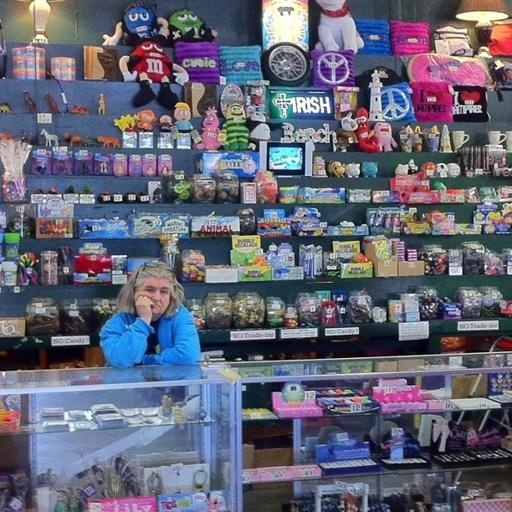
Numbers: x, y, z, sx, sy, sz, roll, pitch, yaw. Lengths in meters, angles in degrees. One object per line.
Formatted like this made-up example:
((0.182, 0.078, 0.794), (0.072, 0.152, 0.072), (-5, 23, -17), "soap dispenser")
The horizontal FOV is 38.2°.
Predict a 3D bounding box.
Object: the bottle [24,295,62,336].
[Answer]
((-1.284, 0.363, 4.472), (0.202, 0.220, 0.153), (-5, 4, -17), "bottle")

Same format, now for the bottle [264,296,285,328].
((0.119, 0.358, 4.790), (0.136, 0.173, 0.168), (-5, 4, -15), "bottle")

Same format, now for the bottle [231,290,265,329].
((-0.055, 0.341, 4.700), (0.215, 0.185, 0.202), (1, -7, -8), "bottle")

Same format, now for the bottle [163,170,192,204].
((-0.520, -0.461, 4.954), (0.219, 0.276, 0.205), (0, -3, 0), "bottle")

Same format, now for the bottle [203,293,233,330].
((-0.230, 0.344, 4.666), (0.178, 0.216, 0.212), (1, -9, -3), "bottle")

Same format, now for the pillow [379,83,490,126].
((1.447, -1.251, 5.968), (0.730, 0.398, 0.183), (0, -3, -4), "pillow")

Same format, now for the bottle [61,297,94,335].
((-1.074, 0.370, 4.493), (0.165, 0.202, 0.102), (-4, 4, -5), "bottle")

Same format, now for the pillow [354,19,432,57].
((1.216, -1.972, 6.604), (0.509, 0.164, 0.477), (1, 15, 0), "pillow")

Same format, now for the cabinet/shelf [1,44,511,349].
((-0.019, -0.196, 5.105), (3.319, 1.767, 0.999), (-4, 4, -12), "cabinet/shelf")

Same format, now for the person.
((-0.466, 0.284, 3.281), (0.476, 0.705, 0.449), (2, -18, -15), "person")

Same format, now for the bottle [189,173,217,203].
((-0.354, -0.458, 4.945), (0.190, 0.170, 0.172), (1, -2, -10), "bottle")

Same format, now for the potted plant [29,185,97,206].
((-1.246, -0.390, 4.798), (0.416, 0.130, 0.270), (-4, 4, -12), "potted plant")

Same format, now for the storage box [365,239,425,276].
((0.949, 0.030, 5.028), (0.316, 0.208, 0.296), (1, -3, -8), "storage box")
